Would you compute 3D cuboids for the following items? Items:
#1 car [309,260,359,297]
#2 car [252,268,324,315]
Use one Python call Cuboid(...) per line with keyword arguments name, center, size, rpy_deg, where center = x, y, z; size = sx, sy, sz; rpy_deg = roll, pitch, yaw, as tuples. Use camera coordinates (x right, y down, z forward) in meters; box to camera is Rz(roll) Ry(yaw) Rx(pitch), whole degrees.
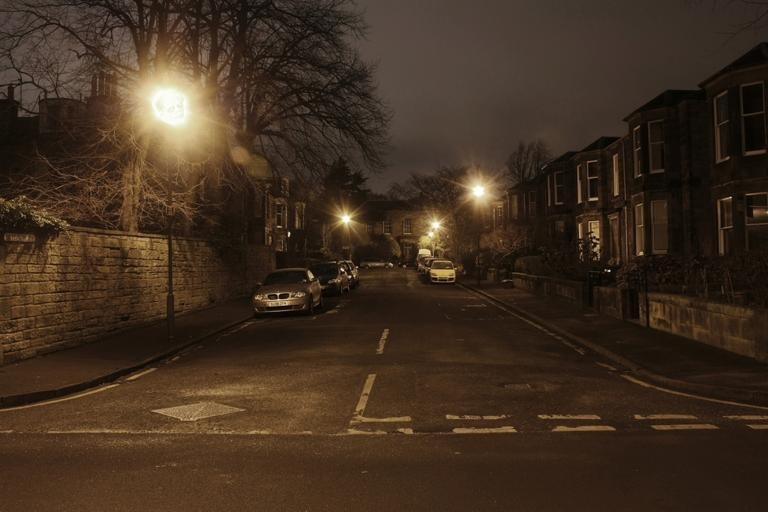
Cuboid(name="car", center=(-2.758, 1.277, 38.660), size=(1.626, 1.323, 3.764), rpy_deg=(-1, -4, 5))
Cuboid(name="car", center=(-3.889, 1.490, 27.710), size=(1.968, 1.706, 3.048), rpy_deg=(0, 7, 7))
